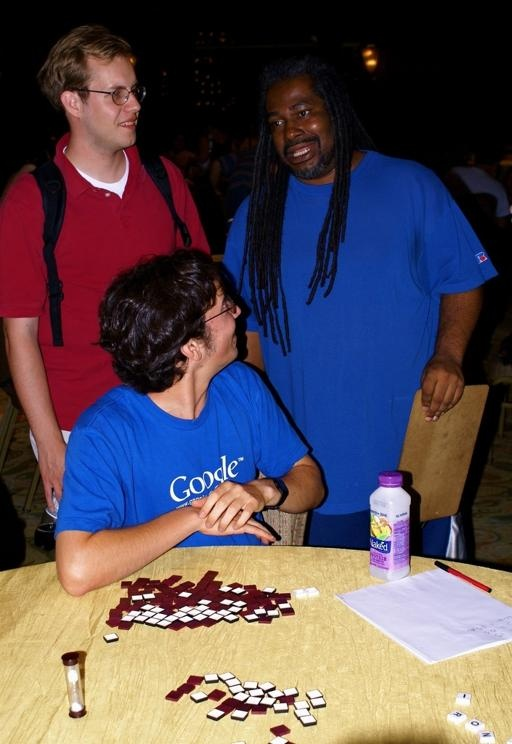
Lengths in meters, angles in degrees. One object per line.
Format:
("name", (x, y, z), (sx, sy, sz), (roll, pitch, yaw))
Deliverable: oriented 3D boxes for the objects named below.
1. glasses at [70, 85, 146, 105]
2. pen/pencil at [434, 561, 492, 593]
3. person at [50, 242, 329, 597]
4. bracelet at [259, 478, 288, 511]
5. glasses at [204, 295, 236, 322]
("glasses", (-0.495, -0.912, 2.030), (0.113, 0.032, 0.107), (9, 20, 28))
("pen/pencil", (0.428, 0.427, 1.297), (0.018, 0.023, 0.154), (6, 8, -34))
("person", (-0.164, 0.055, 1.525), (0.416, 0.733, 0.777), (4, 8, 38))
("bracelet", (0.046, 0.318, 1.619), (0.065, 0.084, 0.034), (44, 12, 36))
("glasses", (-0.090, -0.164, 1.564), (0.073, 0.022, 0.057), (-4, 25, 28))
